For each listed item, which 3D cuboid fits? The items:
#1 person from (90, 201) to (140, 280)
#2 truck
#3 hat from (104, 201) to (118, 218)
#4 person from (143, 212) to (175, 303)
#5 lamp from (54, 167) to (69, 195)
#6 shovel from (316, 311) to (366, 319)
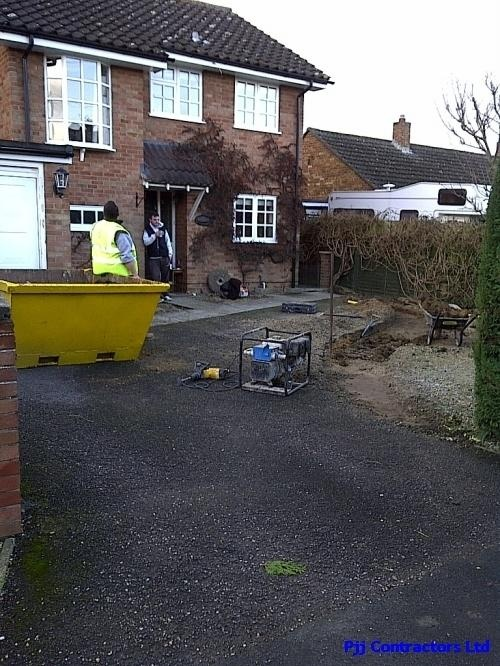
[{"bbox_3d":[-1.972,-1.345,8.565,0.775,1.107,0.584,3,9,7],"label":"person"},{"bbox_3d":[6.042,-5.053,22.474,5.458,1.410,2.298,6,11,18],"label":"truck"},{"bbox_3d":[-2.012,-1.768,8.546,0.175,0.270,0.348,0,10,-9],"label":"hat"},{"bbox_3d":[-2.352,-2.133,14.835,0.626,1.723,0.928,2,9,2],"label":"person"},{"bbox_3d":[-4.268,-3.400,13.281,0.260,0.623,0.609,-2,10,-22],"label":"lamp"},{"bbox_3d":[2.016,-0.404,13.184,1.043,0.077,1.015,5,11,15],"label":"shovel"}]
